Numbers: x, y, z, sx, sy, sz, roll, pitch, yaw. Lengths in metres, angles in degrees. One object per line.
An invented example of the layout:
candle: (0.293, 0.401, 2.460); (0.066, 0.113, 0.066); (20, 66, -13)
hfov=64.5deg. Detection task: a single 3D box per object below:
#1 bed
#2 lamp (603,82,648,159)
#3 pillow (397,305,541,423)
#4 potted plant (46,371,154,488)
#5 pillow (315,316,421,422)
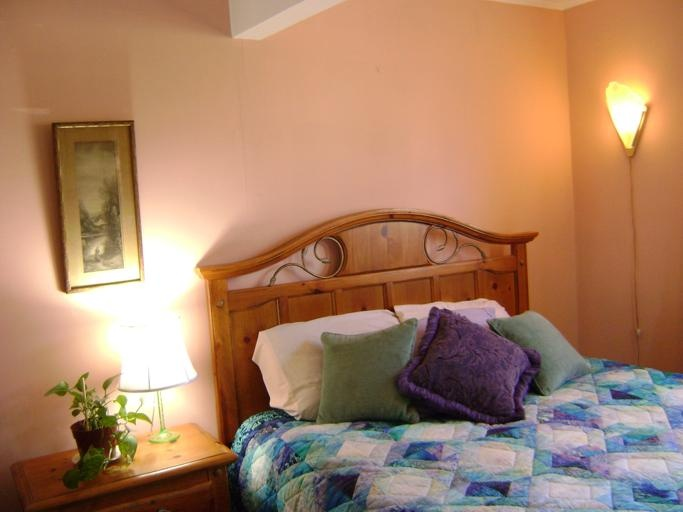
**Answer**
bed: (0.405, 0.489, 2.676); (1.357, 0.906, 1.325); (-9, 4, -31)
lamp: (1.914, -0.916, 3.633); (0.321, 0.438, 0.096); (-1, 9, 18)
pillow: (0.609, 0.518, 2.550); (0.606, 0.399, 0.485); (-2, 11, 20)
potted plant: (-1.043, 0.742, 2.432); (0.481, 0.499, 0.416); (1, -7, 3)
pillow: (0.129, 0.551, 2.528); (0.415, 0.416, 0.151); (-2, -27, 4)
